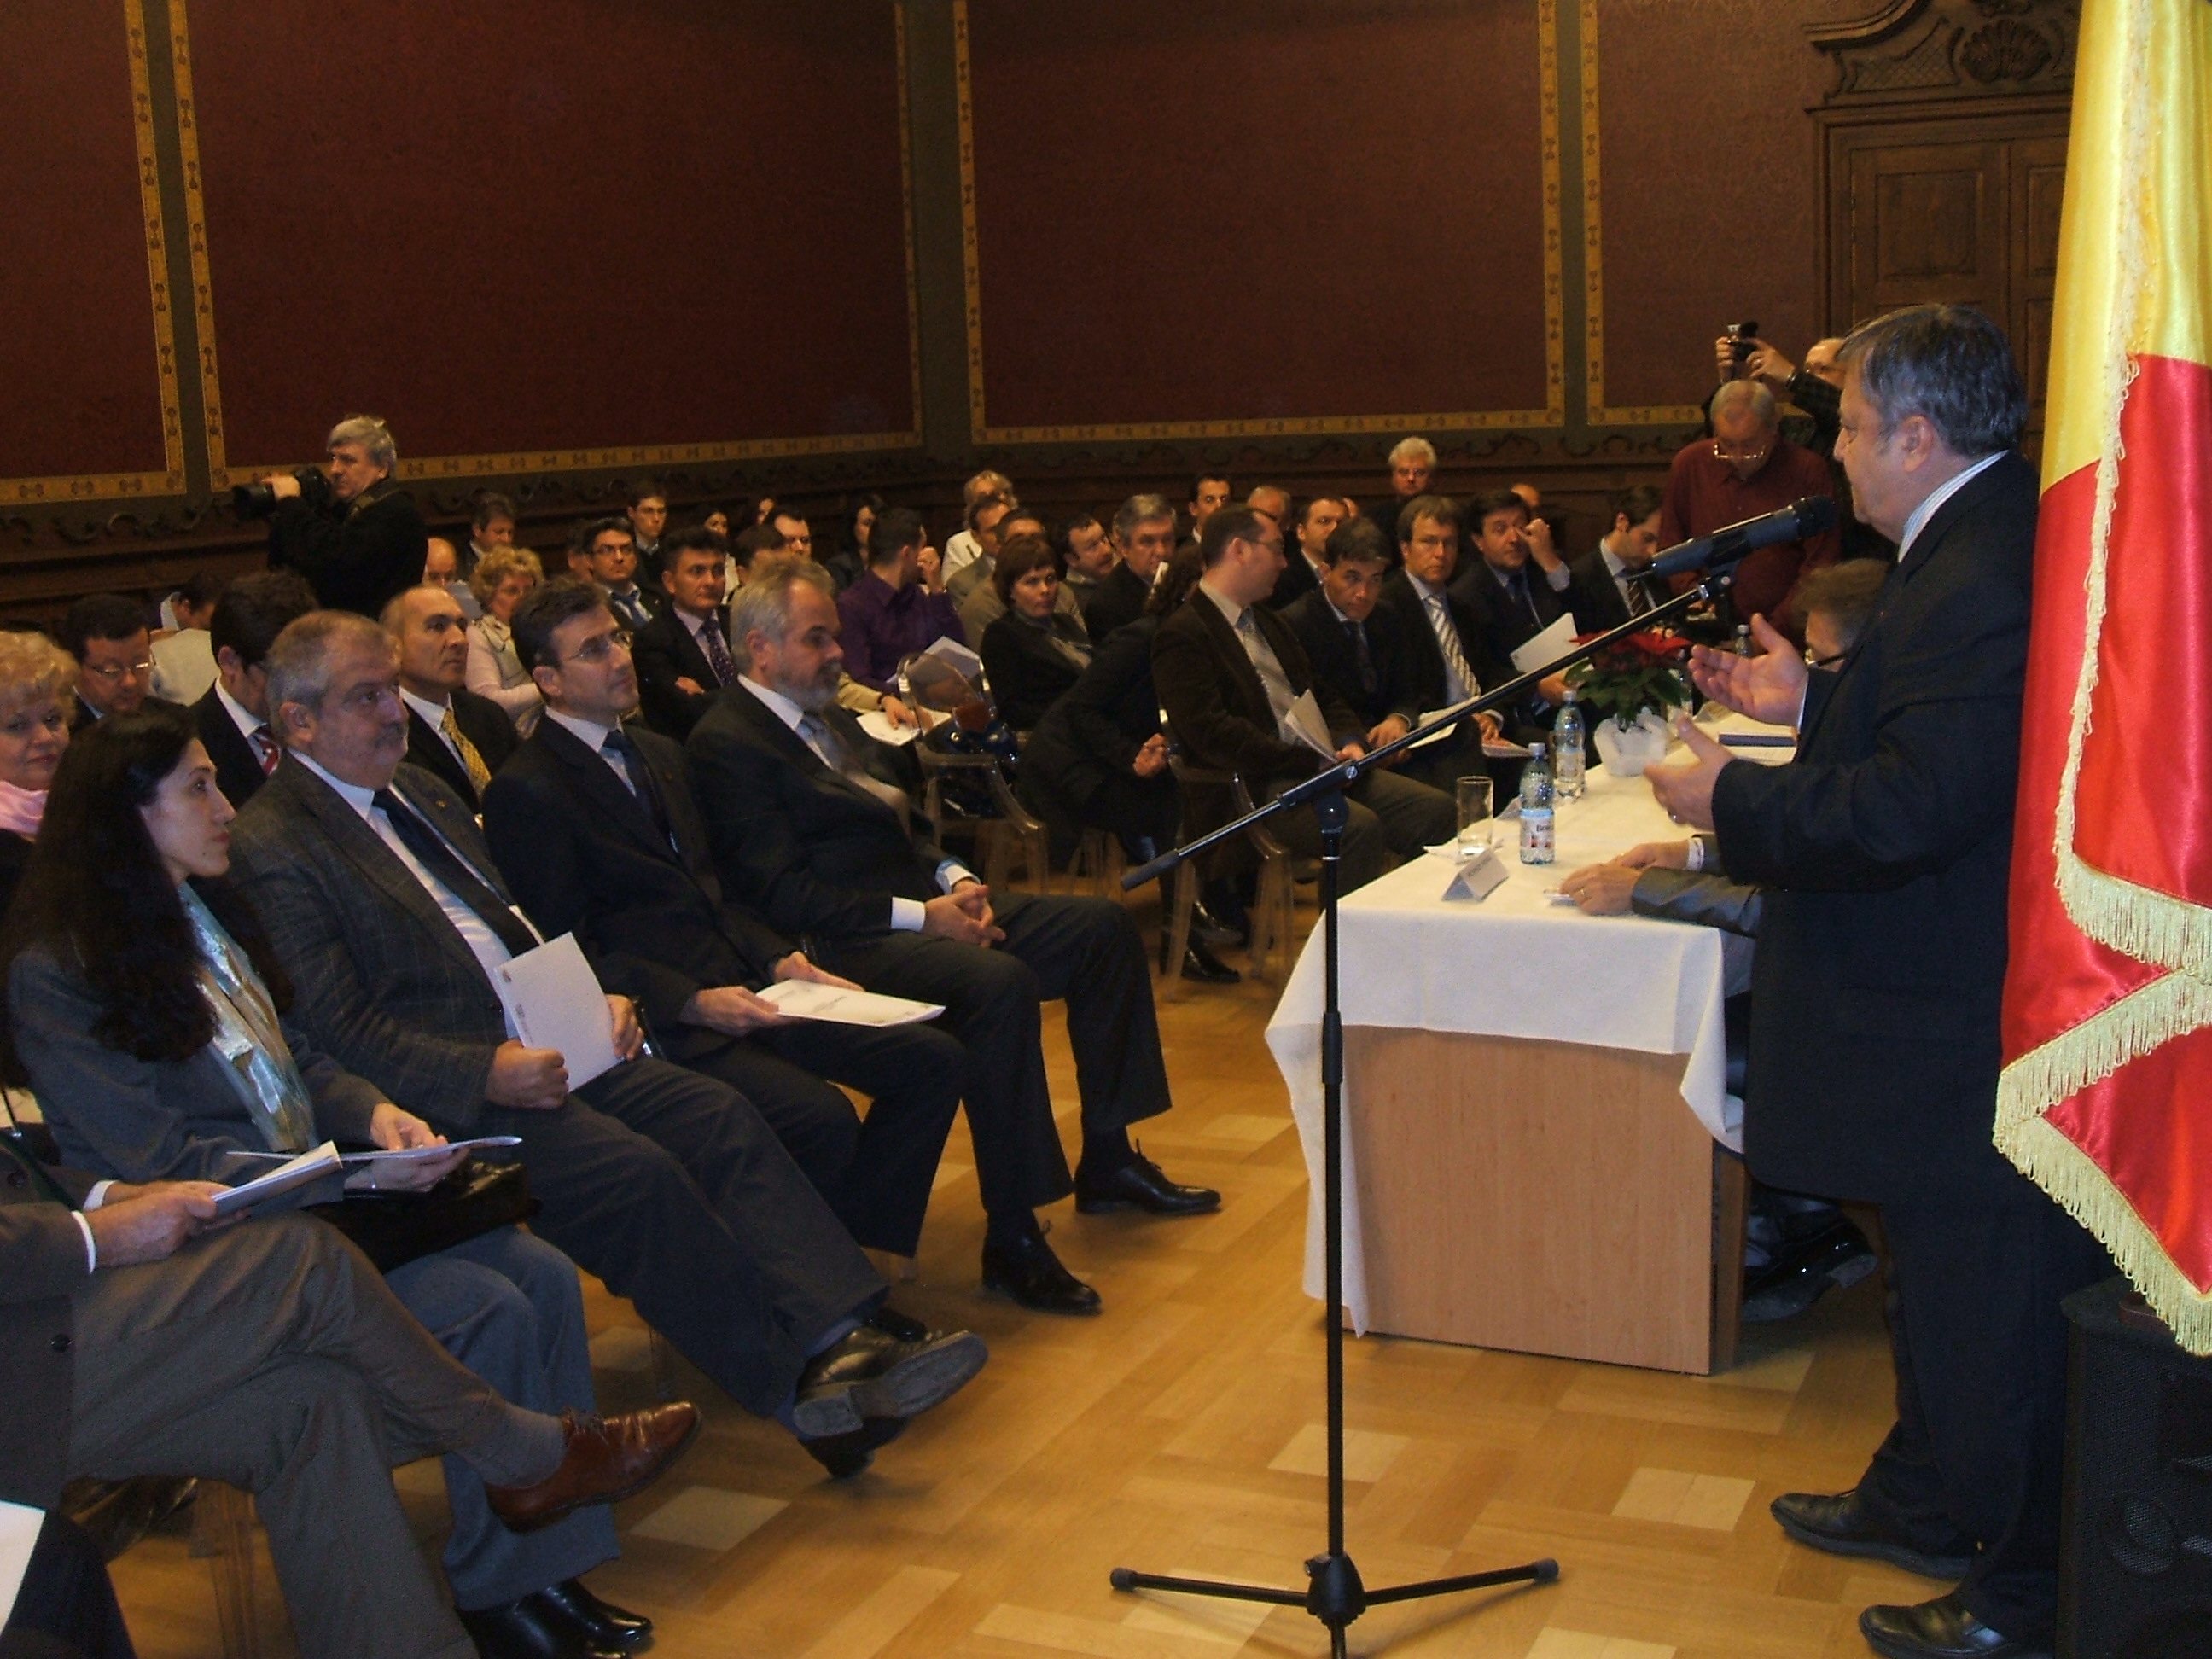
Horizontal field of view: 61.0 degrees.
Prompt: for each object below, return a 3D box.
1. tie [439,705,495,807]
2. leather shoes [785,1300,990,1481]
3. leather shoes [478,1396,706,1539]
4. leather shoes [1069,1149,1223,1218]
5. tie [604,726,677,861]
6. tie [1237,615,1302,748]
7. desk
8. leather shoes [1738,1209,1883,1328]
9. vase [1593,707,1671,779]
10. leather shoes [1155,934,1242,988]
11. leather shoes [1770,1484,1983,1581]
[{"bbox_3d":[-1.719,-0.197,5.004,0.068,0.292,0.276,-11,29,-5],"label":"tie"},{"bbox_3d":[-0.415,1.042,3.438,0.230,0.094,0.230,-36,15,8],"label":"leather shoes"},{"bbox_3d":[-0.811,1.009,2.983,0.333,0.154,0.119,-25,21,-27],"label":"leather shoes"},{"bbox_3d":[0.083,0.878,4.659,0.404,0.201,0.145,-2,-1,5],"label":"leather shoes"},{"bbox_3d":[-1.024,-0.077,4.062,0.061,0.264,0.143,-23,-14,34],"label":"tie"},{"bbox_3d":[0.535,-0.490,6.166,0.134,0.359,0.287,-19,2,6],"label":"tie"},{"bbox_3d":[0.832,0.338,3.850,0.763,0.637,1.226,1,10,17],"label":"desk"},{"bbox_3d":[1.494,0.915,4.012,0.228,0.248,0.072,15,2,-8],"label":"leather shoes"},{"bbox_3d":[1.329,-0.219,4.720,0.189,0.170,0.188,-8,14,-12],"label":"vase"},{"bbox_3d":[0.297,0.451,6.445,0.328,0.145,0.115,7,6,42],"label":"leather shoes"},{"bbox_3d":[1.278,1.165,3.116,0.311,0.158,0.115,12,9,25],"label":"leather shoes"}]
